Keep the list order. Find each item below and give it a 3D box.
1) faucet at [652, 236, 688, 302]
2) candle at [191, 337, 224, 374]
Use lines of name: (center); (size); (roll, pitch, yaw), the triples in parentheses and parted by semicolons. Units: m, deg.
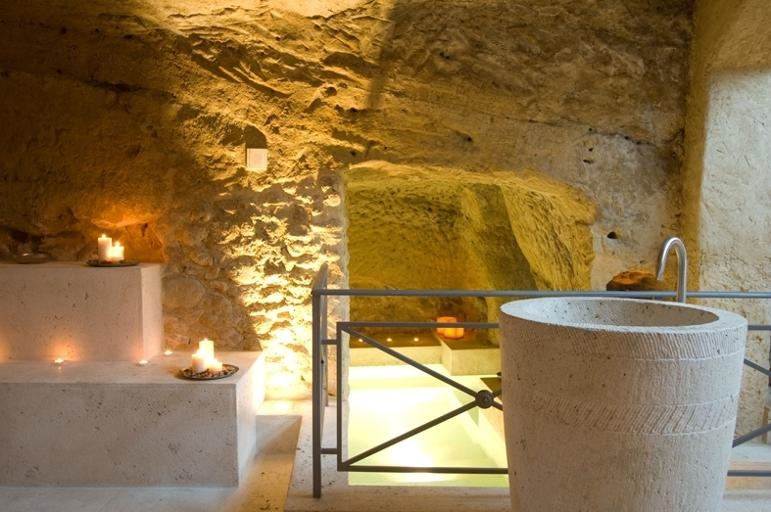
faucet: (1.443, 0.064, 3.958); (0.138, 0.341, 0.457); (-2, -3, 20)
candle: (-0.975, 0.580, 4.526); (0.135, 0.225, 0.230); (0, -6, 0)
